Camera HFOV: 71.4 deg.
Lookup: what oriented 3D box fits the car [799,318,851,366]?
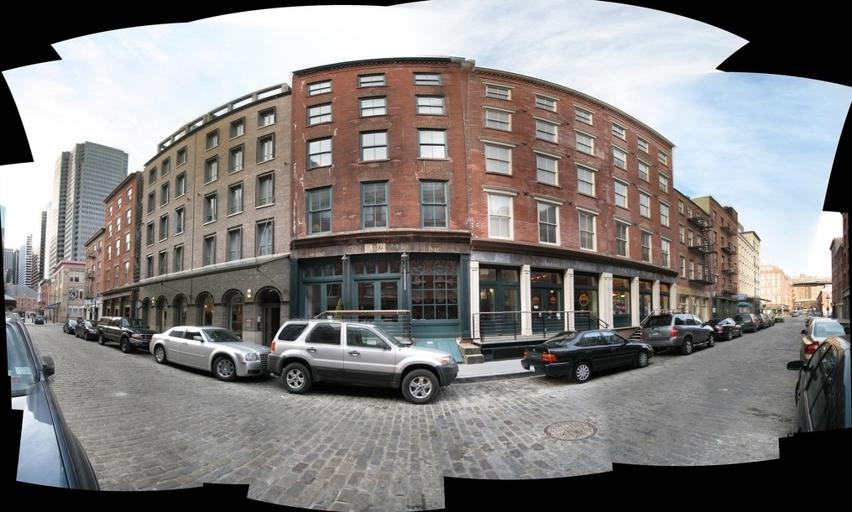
[{"bbox_3d":[9.705,1.915,14.390,1.269,0.917,2.981,0,2,28],"label":"car"}]

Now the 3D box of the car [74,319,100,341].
[{"bbox_3d":[-11.832,2.565,20.873,1.987,0.650,0.864,-6,-9,44],"label":"car"}]

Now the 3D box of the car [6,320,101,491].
[{"bbox_3d":[-6.792,2.738,10.790,0.994,0.910,2.979,9,4,-40],"label":"car"}]

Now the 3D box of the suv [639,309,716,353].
[{"bbox_3d":[9.017,2.608,21.055,2.783,0.989,1.231,-1,-1,-41],"label":"suv"}]

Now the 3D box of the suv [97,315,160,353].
[{"bbox_3d":[-10.424,2.713,20.868,2.752,1.023,1.282,-5,-10,43],"label":"suv"}]

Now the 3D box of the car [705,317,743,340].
[{"bbox_3d":[12.575,3.082,25.153,2.690,0.794,1.105,0,-1,-41],"label":"car"}]

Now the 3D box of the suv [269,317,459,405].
[{"bbox_3d":[-1.488,2.643,15.330,4.475,1.706,2.012,-2,-10,10],"label":"suv"}]

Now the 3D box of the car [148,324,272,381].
[{"bbox_3d":[-5.956,2.608,16.474,3.534,0.981,1.455,0,-5,26],"label":"car"}]

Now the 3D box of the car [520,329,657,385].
[{"bbox_3d":[4.412,2.657,16.255,3.203,1.335,1.462,-8,9,-33],"label":"car"}]
